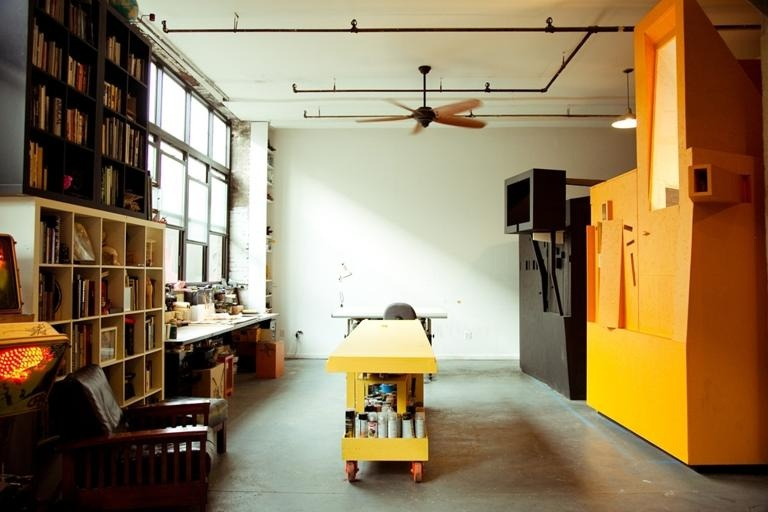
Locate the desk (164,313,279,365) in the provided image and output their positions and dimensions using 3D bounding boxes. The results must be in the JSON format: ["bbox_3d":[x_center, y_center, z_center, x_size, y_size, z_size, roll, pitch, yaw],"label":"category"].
[{"bbox_3d":[-2.318,0.970,8.052,0.650,0.280,2.216,2,6,11],"label":"desk"}]

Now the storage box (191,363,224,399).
[{"bbox_3d":[-2.186,1.534,7.414,0.206,0.395,0.435,-1,-10,10],"label":"storage box"}]

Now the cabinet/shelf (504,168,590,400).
[{"bbox_3d":[2.155,0.352,8.363,0.857,3.077,1.531,-1,6,-12],"label":"cabinet/shelf"}]

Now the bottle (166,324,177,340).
[{"bbox_3d":[-2.501,0.895,7.145,0.169,0.177,0.168,2,-2,-14],"label":"bottle"}]

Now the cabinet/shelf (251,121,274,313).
[{"bbox_3d":[-2.170,-0.728,10.409,0.349,3.233,0.749,-1,6,-12],"label":"cabinet/shelf"}]

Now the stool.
[{"bbox_3d":[-1.878,1.712,6.122,0.628,0.484,0.616,0,-8,-1],"label":"stool"}]

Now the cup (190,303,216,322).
[{"bbox_3d":[-2.604,0.806,8.625,0.233,0.264,0.392,1,-6,-15],"label":"cup"}]

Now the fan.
[{"bbox_3d":[0.678,-1.842,7.806,1.340,0.653,1.333,3,-2,-18],"label":"fan"}]

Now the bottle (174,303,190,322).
[{"bbox_3d":[-2.744,0.766,8.204,0.218,0.242,0.225,2,-6,-26],"label":"bottle"}]

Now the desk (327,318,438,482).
[{"bbox_3d":[0.030,1.340,6.257,0.795,0.979,1.645,-1,-3,3],"label":"desk"}]
